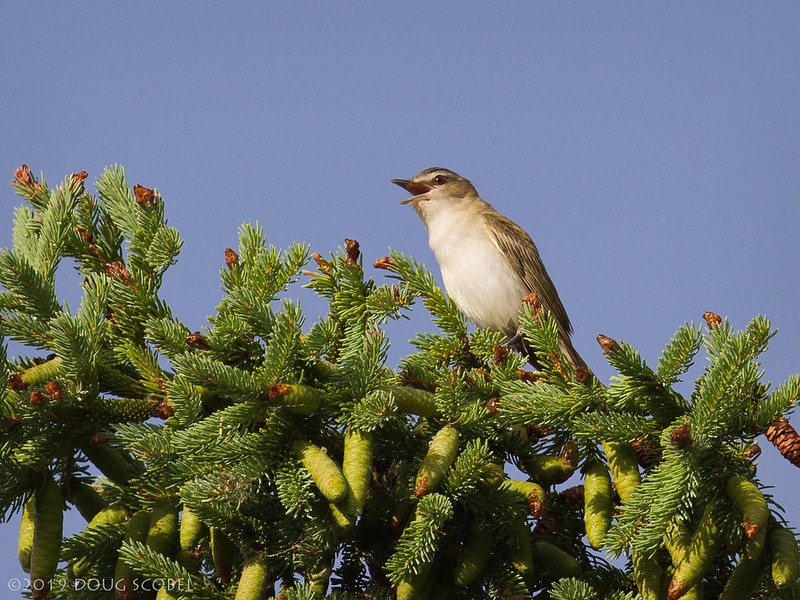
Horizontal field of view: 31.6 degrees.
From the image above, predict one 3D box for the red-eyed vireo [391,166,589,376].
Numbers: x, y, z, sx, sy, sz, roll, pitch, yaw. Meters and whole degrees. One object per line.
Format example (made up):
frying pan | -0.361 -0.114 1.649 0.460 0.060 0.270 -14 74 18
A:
red-eyed vireo | 0.609 -0.168 8.704 1.382 1.253 0.604 9 -27 -41
